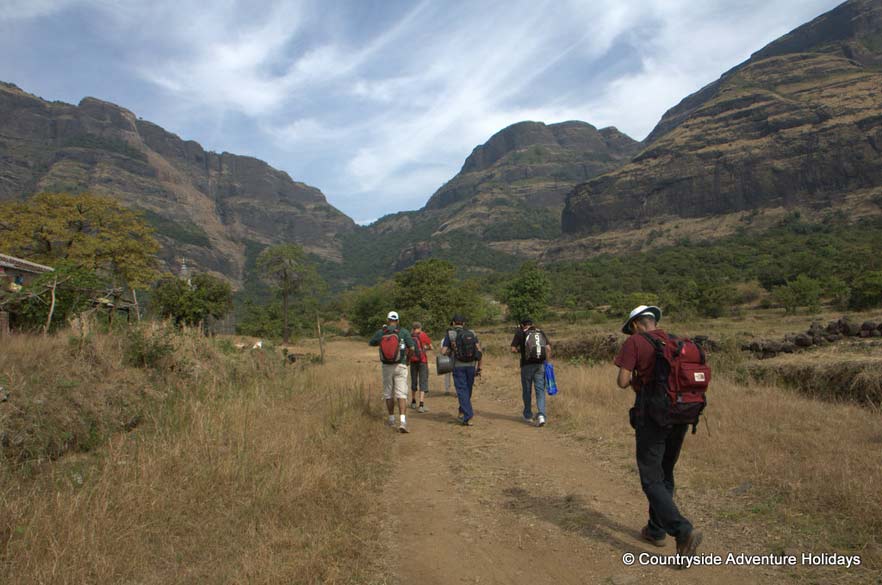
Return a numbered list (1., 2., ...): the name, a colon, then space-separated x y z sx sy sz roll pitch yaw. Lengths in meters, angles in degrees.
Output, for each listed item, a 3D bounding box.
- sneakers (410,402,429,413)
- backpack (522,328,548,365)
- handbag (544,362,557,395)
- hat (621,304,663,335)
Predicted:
1. sneakers: -0.618 3.234 17.910 0.202 0.231 0.570 4 -20 -11
2. backpack: 2.360 1.343 16.054 0.595 0.853 0.322 -2 -4 6
3. handbag: 2.769 2.219 16.271 0.289 0.830 0.940 -2 -4 8
4. hat: 3.787 0.368 12.251 0.673 0.213 0.659 -27 -19 -9
